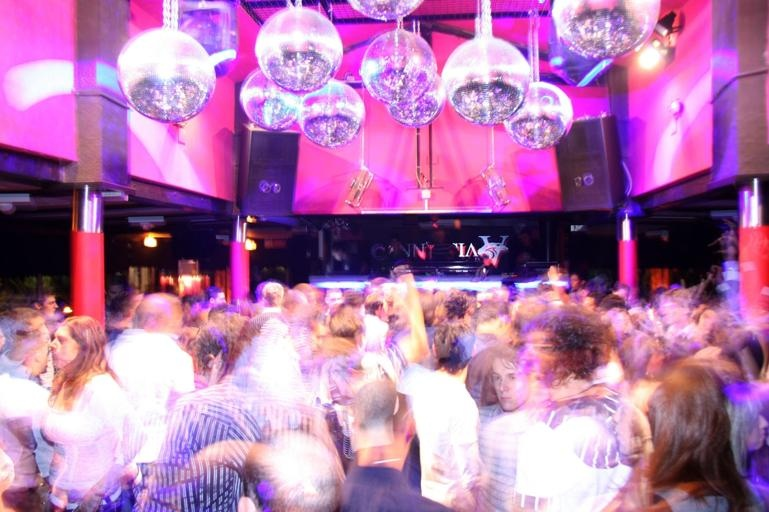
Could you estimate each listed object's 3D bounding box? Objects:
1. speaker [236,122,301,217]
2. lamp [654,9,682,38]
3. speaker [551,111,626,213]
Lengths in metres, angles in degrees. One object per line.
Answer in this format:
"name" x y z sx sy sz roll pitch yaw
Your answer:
"speaker" -1.908 -1.326 10.621 0.960 1.321 0.732 1 -5 -15
"lamp" 4.042 -3.209 9.198 0.237 0.454 0.241 37 -10 -34
"speaker" 3.194 -1.369 10.143 0.978 1.326 0.700 -3 -6 26
